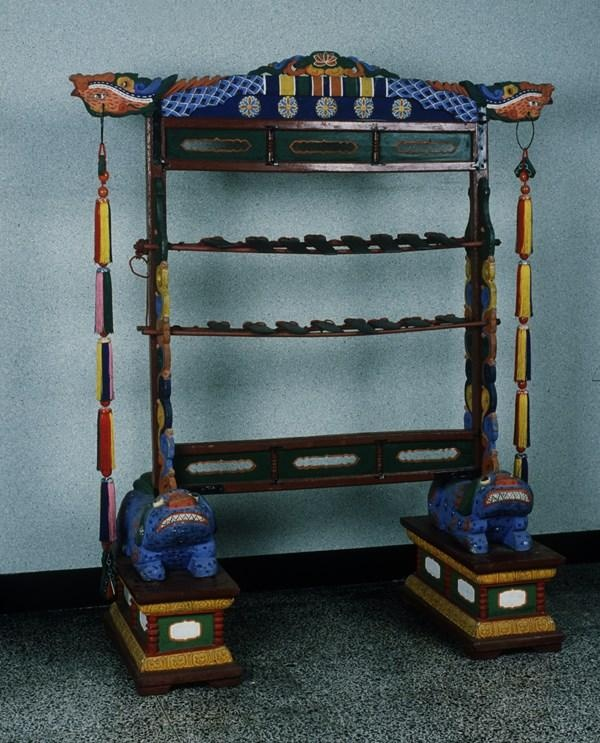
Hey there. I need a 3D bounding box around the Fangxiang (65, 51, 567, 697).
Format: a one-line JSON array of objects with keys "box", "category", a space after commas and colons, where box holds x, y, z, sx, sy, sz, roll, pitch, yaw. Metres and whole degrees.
[{"box": [0.081, -0.085, 3.111, 1.744, 2.153, 0.930, -5, 11, -14], "category": "Fangxiang"}]
